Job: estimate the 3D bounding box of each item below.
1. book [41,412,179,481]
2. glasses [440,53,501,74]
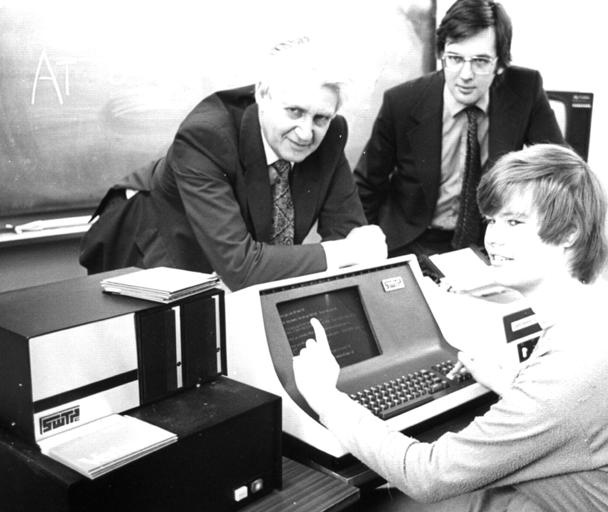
[{"bbox_3d":[-0.325,0.314,0.870,0.184,0.017,0.196,-4,4,16],"label":"book"},{"bbox_3d":[0.730,-0.852,2.308,0.222,0.104,0.097,4,27,21],"label":"glasses"}]
